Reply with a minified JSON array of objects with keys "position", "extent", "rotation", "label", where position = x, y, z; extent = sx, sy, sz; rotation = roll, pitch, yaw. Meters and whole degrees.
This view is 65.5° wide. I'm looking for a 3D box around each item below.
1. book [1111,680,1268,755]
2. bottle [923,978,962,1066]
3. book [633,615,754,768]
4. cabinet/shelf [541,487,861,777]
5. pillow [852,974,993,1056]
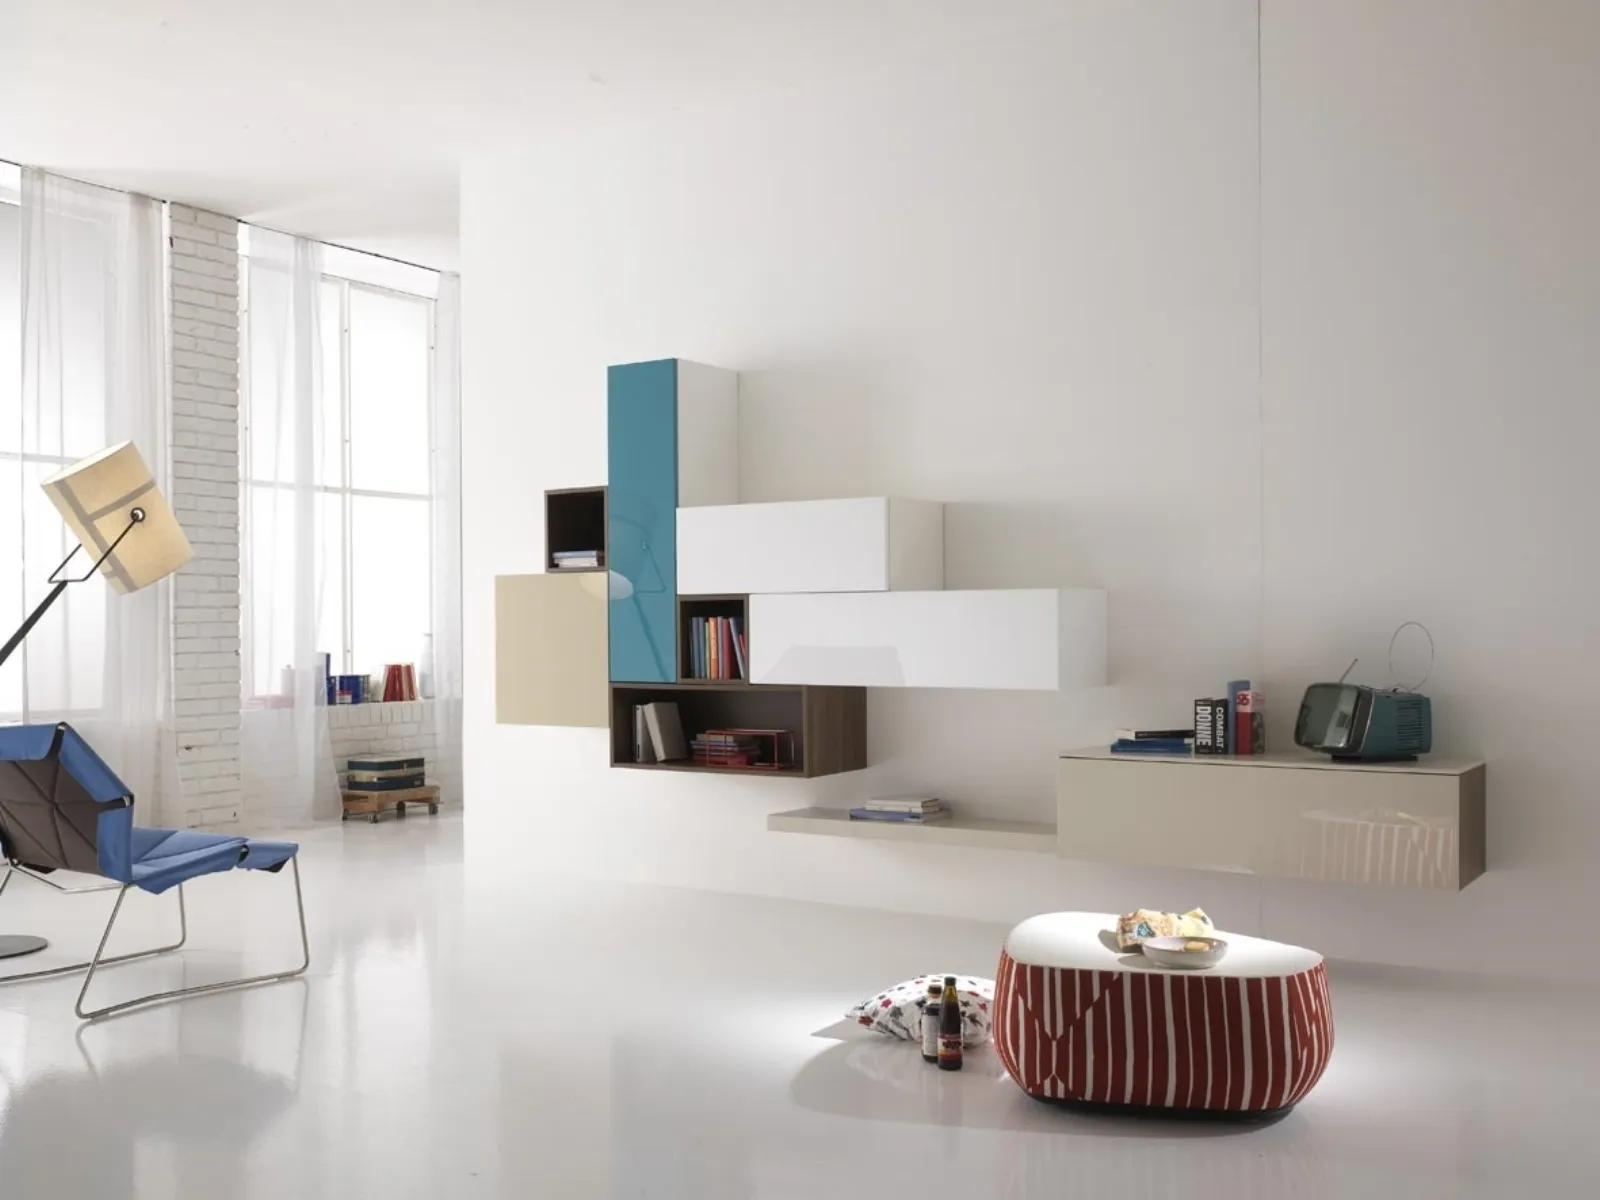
[{"position":[1.561,0.496,4.840],"extent":[0.372,0.170,0.372],"rotation":[0,-2,-26],"label":"book"},{"position":[0.453,1.300,3.875],"extent":[0.110,0.220,0.214],"rotation":[0,1,8],"label":"bottle"},{"position":[-0.474,0.418,5.840],"extent":[0.644,0.694,0.249],"rotation":[1,2,37],"label":"book"},{"position":[-0.401,0.142,5.729],"extent":[1.402,1.254,0.455],"rotation":[-1,-1,34],"label":"cabinet/shelf"},{"position":[0.412,1.313,3.996],"extent":[0.322,0.138,0.228],"rotation":[1,-4,-10],"label":"pillow"}]
